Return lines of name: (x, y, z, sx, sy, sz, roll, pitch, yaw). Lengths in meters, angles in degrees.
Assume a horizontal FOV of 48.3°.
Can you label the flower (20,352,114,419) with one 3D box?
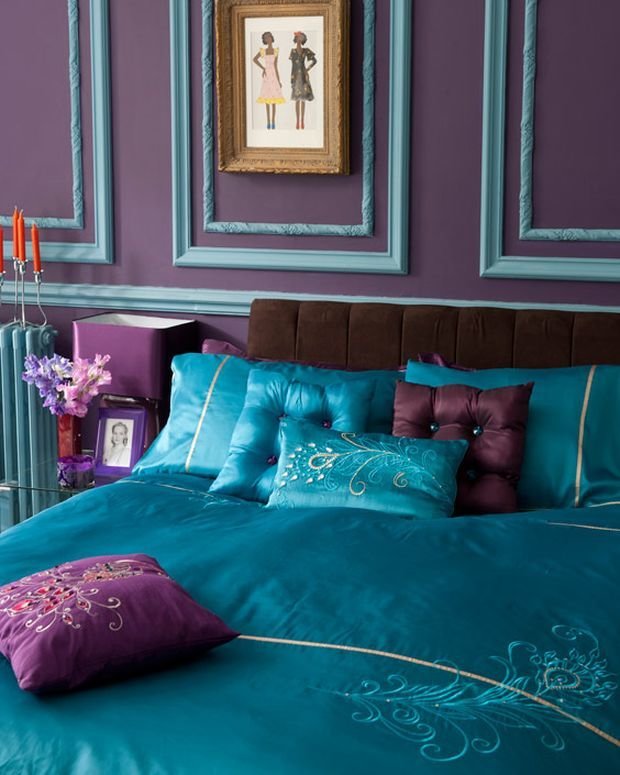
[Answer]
flower: (-0.867, -0.020, 2.582, 0.300, 0.264, 0.271, 2, -1, -1)
